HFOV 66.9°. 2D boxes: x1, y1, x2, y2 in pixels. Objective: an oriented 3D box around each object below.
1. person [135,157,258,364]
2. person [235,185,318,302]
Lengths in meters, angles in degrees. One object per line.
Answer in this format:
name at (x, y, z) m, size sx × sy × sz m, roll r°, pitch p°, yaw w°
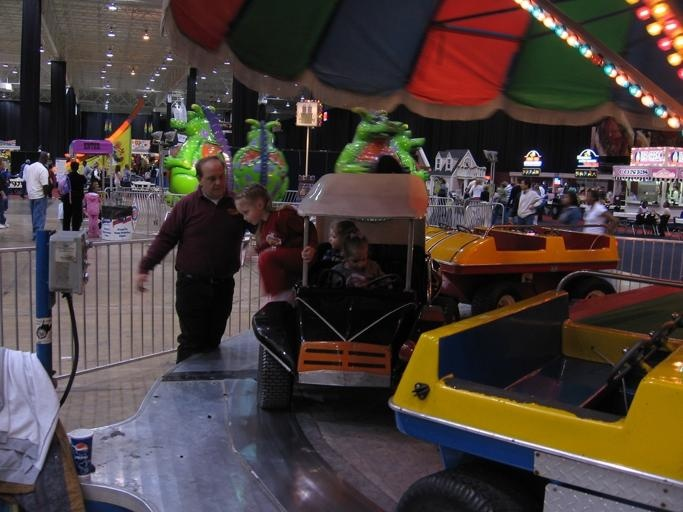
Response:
person at (-1.274, 0.080, 4.652) m, size 0.840 × 1.934 × 0.448 m, roll 3°, pitch 7°, yaw -17°
person at (-0.614, -0.089, 4.420) m, size 0.590 × 1.017 × 0.359 m, roll 5°, pitch 7°, yaw -6°
